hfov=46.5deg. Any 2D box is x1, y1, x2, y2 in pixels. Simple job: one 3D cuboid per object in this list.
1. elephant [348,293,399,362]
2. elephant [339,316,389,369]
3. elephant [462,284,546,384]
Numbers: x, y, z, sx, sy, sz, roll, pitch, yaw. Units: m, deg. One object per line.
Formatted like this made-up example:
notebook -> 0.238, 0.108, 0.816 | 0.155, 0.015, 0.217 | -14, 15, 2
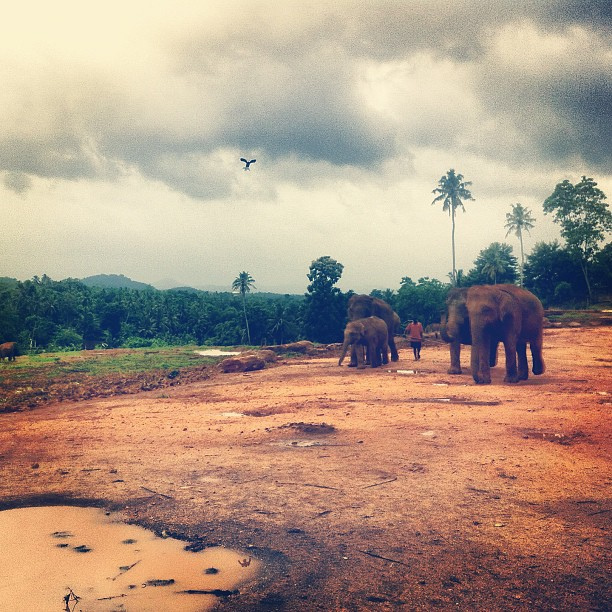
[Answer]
elephant -> 2.433, 0.661, 26.966 | 1.616, 2.211, 3.645 | -4, -2, 28
elephant -> 1.960, 1.270, 23.897 | 2.368, 1.671, 0.913 | -1, -5, -44
elephant -> 5.060, 0.776, 18.346 | 3.091, 2.538, 1.480 | 3, -3, -42
